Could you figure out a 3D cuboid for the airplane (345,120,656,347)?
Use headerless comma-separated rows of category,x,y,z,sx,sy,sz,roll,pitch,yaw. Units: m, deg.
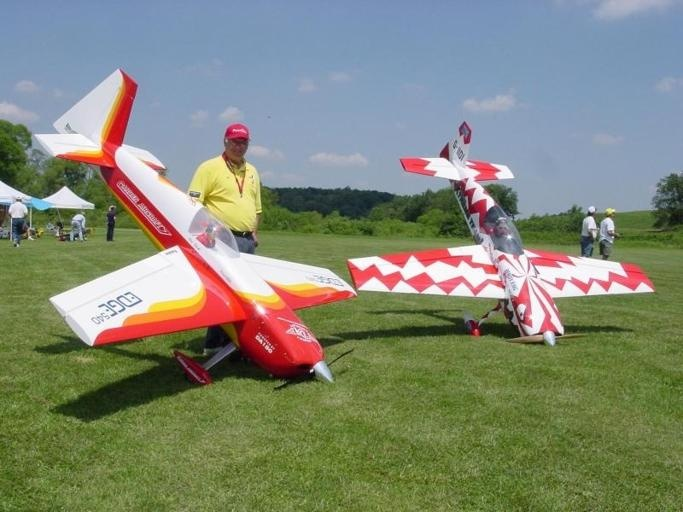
airplane,2.615,-0.706,9.680,4.946,3.546,4.363,2,7,0

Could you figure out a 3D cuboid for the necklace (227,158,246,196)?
necklace,-1.401,-1.065,7.423,0.156,0.506,0.059,-5,-31,-36

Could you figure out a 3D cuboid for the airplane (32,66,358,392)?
airplane,-2.508,-0.641,6.949,2.495,3.939,4.638,-4,9,-41
